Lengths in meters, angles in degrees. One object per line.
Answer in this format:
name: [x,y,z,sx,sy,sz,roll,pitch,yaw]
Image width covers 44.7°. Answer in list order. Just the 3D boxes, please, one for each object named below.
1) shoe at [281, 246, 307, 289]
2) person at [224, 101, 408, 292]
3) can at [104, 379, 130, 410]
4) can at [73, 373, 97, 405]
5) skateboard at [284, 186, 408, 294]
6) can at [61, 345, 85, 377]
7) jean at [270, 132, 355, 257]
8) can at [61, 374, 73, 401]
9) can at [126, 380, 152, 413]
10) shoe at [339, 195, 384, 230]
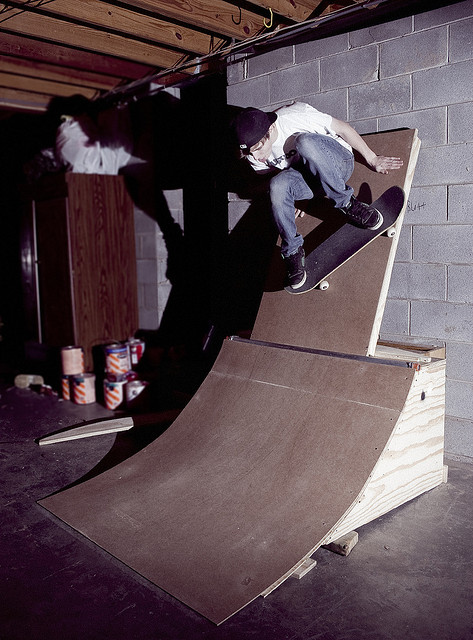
shoe: [0.271,-0.237,2.727,0.081,0.232,0.106,-17,-19,42]
person: [0.389,-0.713,2.812,0.649,0.911,0.634,-27,3,4]
can: [-0.796,0.496,3.879,0.196,0.206,0.191,2,2,13]
can: [-1.036,0.465,3.938,0.193,0.198,0.190,2,4,20]
skateboard: [0.507,-0.293,2.707,0.137,0.757,0.244,22,35,-44]
can: [-1.154,0.284,4.090,0.201,0.204,0.193,2,10,9]
jean: [0.361,-0.593,2.670,0.327,0.540,0.333,-41,34,-12]
can: [-1.198,0.476,4.040,0.052,0.180,0.117,-7,13,-26]
can: [-0.633,0.492,3.783,0.184,0.192,0.179,-4,9,-29]
shoe: [0.551,-0.481,2.597,0.090,0.072,0.225,13,19,-40]
